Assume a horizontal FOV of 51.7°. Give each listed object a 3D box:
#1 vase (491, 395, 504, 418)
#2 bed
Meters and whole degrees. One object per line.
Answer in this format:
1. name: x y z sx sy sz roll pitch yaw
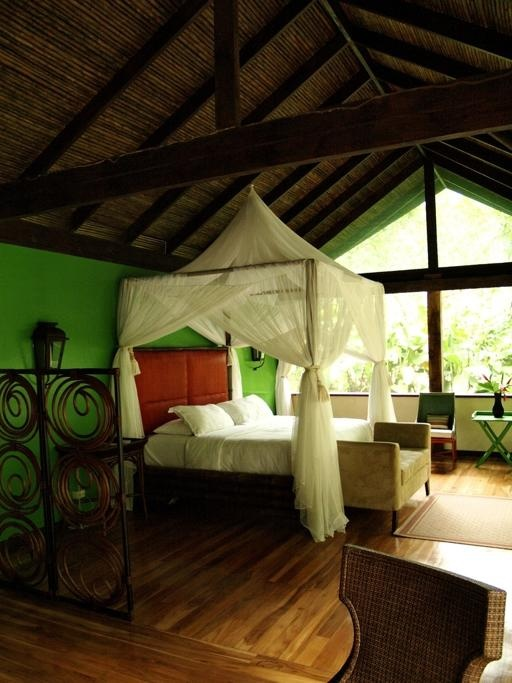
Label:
1. vase: 2.823 0.748 6.178 0.121 0.267 0.353 -2 -3 23
2. bed: -0.504 0.771 5.644 0.860 1.397 1.553 -6 -4 31
